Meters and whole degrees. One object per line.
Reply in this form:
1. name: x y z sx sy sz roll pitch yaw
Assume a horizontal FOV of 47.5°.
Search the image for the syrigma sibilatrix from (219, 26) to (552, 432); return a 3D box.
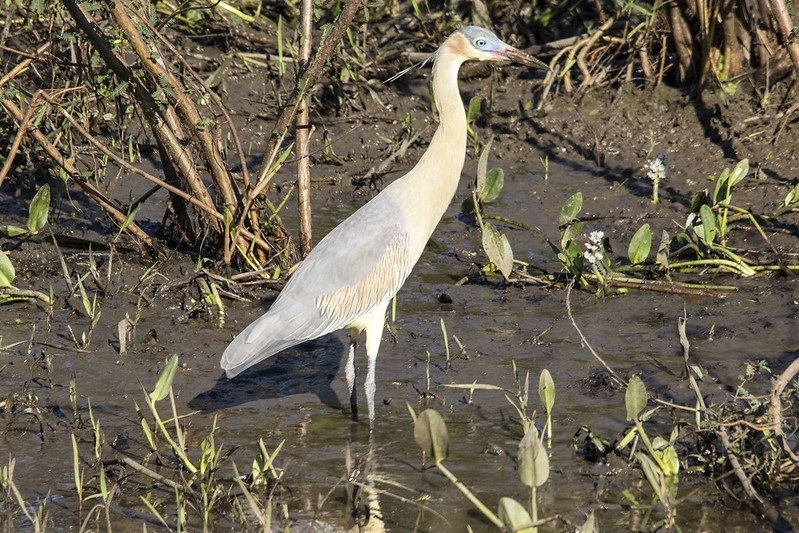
1. syrigma sibilatrix: -1.145 -0.350 7.222 1.911 4.151 2.720 0 90 -8
